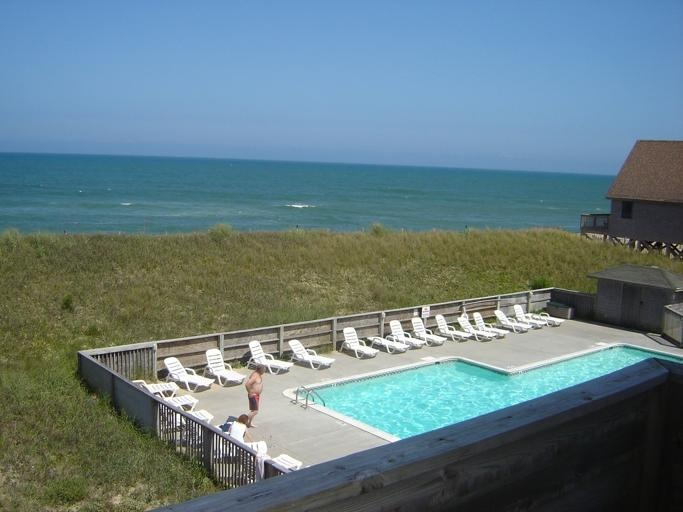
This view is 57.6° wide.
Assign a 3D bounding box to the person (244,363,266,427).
[{"bbox_3d":[-2.025,3.213,14.572,0.395,1.298,2.020,-2,-9,-9],"label":"person"}]

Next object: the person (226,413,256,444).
[{"bbox_3d":[-1.982,3.434,12.334,0.445,0.745,0.249,25,35,12],"label":"person"}]
